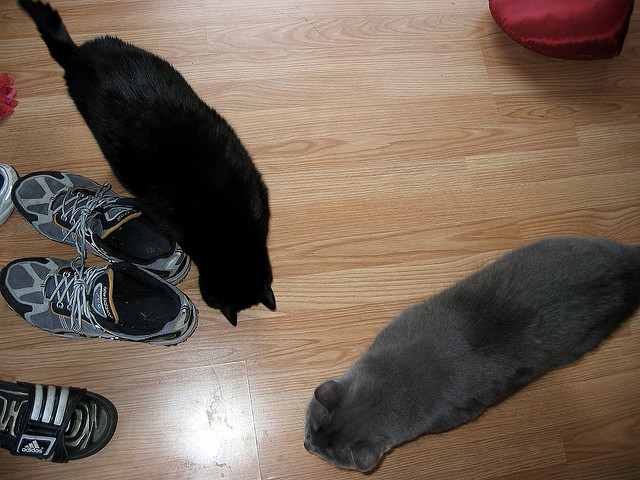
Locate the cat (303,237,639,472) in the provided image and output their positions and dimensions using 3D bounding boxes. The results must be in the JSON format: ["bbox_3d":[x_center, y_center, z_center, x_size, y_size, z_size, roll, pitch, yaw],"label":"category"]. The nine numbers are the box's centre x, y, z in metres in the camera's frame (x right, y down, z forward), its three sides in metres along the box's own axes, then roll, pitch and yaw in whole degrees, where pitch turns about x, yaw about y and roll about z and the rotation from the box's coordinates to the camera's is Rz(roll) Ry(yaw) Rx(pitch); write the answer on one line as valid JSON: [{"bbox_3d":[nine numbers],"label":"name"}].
[{"bbox_3d":[0.706,0.563,2.632,1.887,0.652,0.426,-22,86,7],"label":"cat"}]
